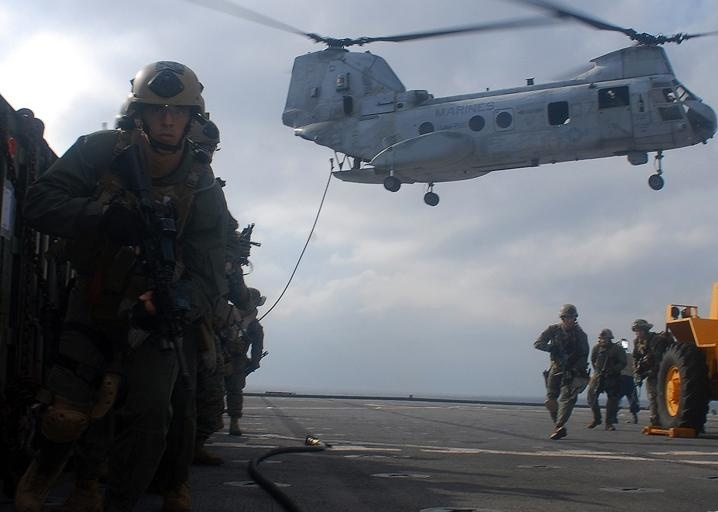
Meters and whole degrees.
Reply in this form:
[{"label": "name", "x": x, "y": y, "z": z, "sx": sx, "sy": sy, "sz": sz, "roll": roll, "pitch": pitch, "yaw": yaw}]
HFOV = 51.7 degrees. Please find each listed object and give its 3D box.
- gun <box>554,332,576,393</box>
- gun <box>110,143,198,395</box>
[{"label": "gun", "x": 3.035, "y": 1.604, "z": 10.843, "sx": 0.304, "sy": 0.607, "sz": 0.150, "roll": 4, "pitch": -25, "yaw": 8}, {"label": "gun", "x": -1.411, "y": 0.038, "z": 4.504, "sx": 0.393, "sy": 1.566, "sz": 0.692, "roll": -7, "pitch": -14, "yaw": -34}]
